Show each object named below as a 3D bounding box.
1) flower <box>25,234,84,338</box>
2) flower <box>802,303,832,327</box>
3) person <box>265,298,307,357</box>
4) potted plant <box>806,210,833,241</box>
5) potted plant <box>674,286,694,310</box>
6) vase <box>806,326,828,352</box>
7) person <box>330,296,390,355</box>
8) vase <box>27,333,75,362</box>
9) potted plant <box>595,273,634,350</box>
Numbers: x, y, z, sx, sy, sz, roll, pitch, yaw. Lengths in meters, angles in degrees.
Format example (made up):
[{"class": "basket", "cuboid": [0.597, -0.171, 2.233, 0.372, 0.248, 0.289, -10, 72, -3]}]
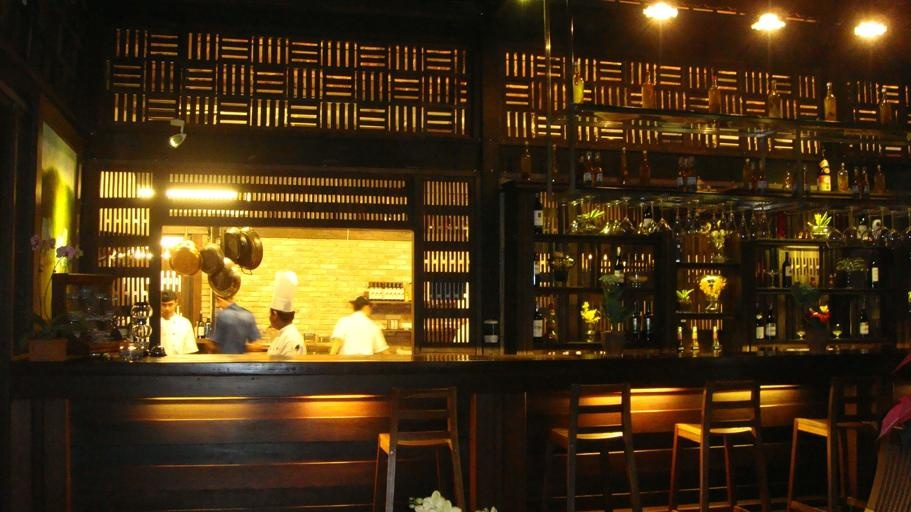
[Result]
[{"class": "flower", "cuboid": [-4.475, 0.338, 12.255, 0.572, 1.143, 0.989, 4, -7, -22]}, {"class": "flower", "cuboid": [4.413, 0.737, 13.324, 0.277, 0.270, 0.468, -1, -6, 14]}, {"class": "person", "cuboid": [-1.990, 0.823, 12.898, 0.459, 0.827, 0.942, 0, 4, -9]}, {"class": "potted plant", "cuboid": [4.705, -0.407, 14.184, 0.392, 0.399, 0.398, 1, -1, -24]}, {"class": "potted plant", "cuboid": [2.972, 0.523, 14.127, 0.262, 0.245, 0.265, -1, -10, 16]}, {"class": "vase", "cuboid": [4.328, 0.988, 13.071, 0.271, 0.299, 0.268, 3, -2, -27]}, {"class": "person", "cuboid": [-1.228, 0.871, 14.053, 0.682, 0.731, 0.344, 2, -6, -5]}, {"class": "vase", "cuboid": [-4.365, 0.981, 11.727, 0.301, 0.182, 0.299, 0, -4, -4]}, {"class": "potted plant", "cuboid": [1.882, 0.756, 13.381, 0.641, 1.032, 0.417, -5, -6, 21]}]
